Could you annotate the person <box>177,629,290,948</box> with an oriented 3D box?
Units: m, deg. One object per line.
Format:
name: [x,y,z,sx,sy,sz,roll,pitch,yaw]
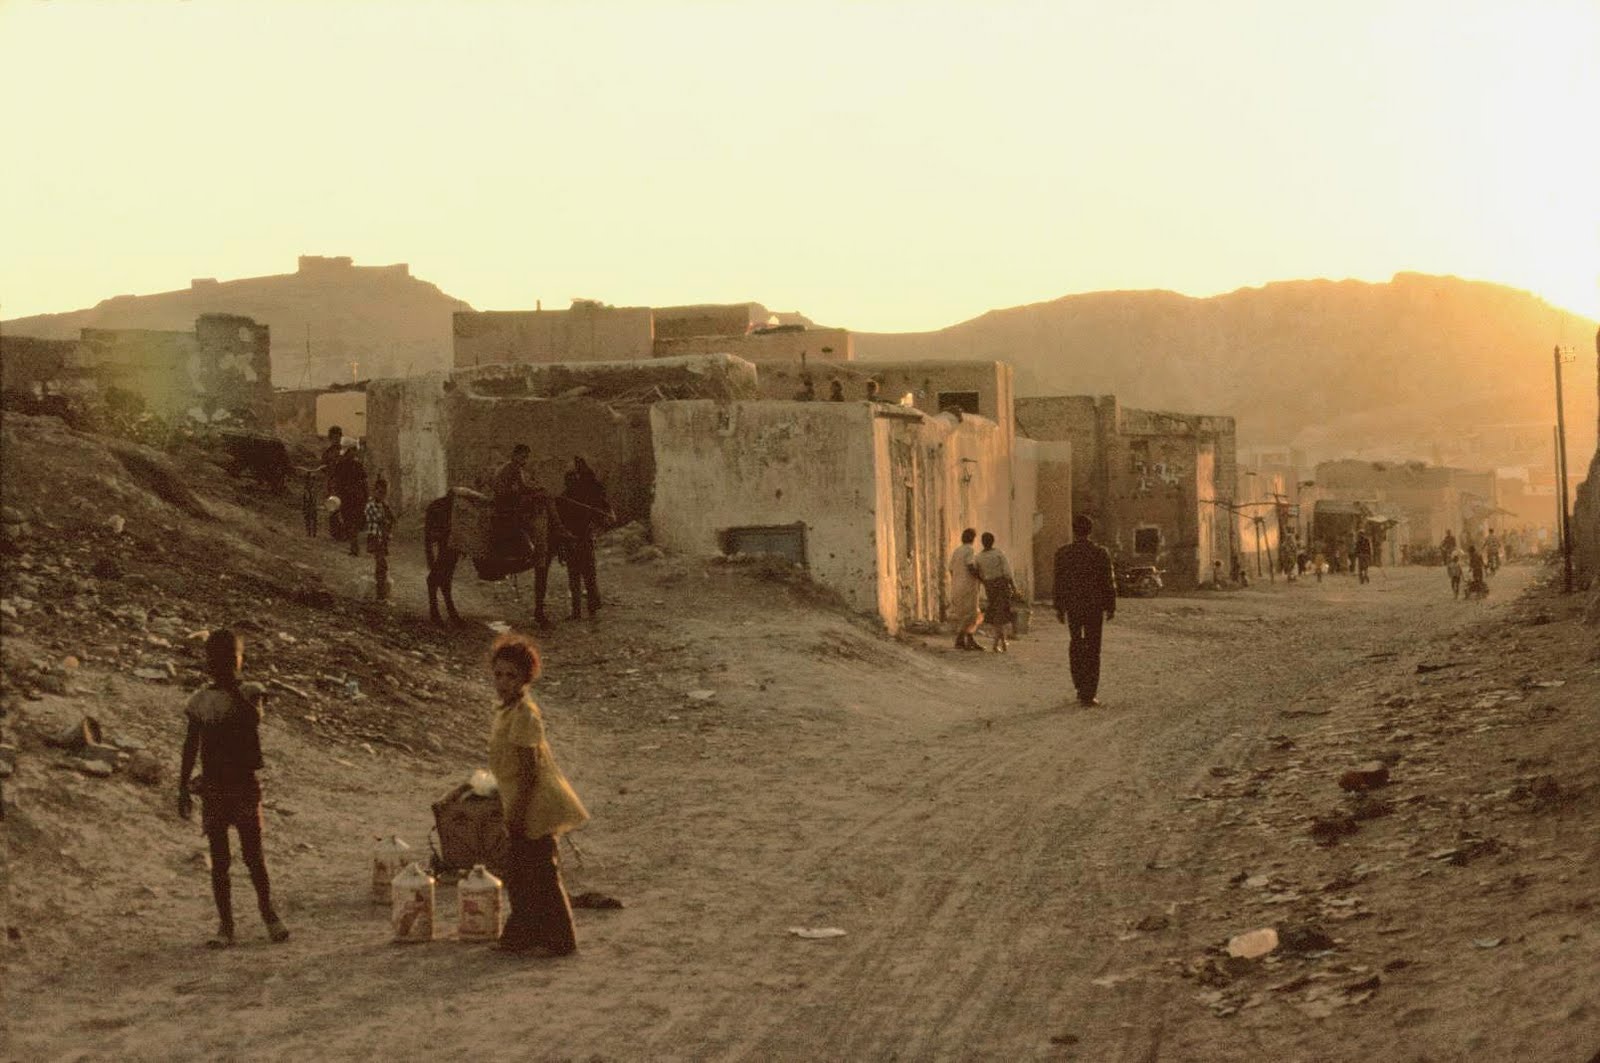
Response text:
person: [-3.889,1.751,11.365,0.632,2.130,0.453,-4,9,-19]

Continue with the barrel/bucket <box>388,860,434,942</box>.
barrel/bucket: [-2.705,2.578,11.627,0.288,0.509,0.304,-1,9,0]

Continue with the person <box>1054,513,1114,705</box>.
person: [3.190,0.879,18.915,0.717,2.070,0.817,1,-1,2]

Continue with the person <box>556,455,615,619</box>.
person: [-2.668,0.041,20.304,0.731,2.266,0.942,2,-2,-7]

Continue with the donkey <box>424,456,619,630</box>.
donkey: [-3.435,0.033,20.385,2.421,2.082,0.736,0,-1,5]

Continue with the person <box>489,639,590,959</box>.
person: [-1.823,1.817,11.500,0.742,2.037,0.824,2,0,0]

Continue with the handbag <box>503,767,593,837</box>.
handbag: [-1.728,1.876,11.422,0.532,0.426,0.388,2,-8,6]
